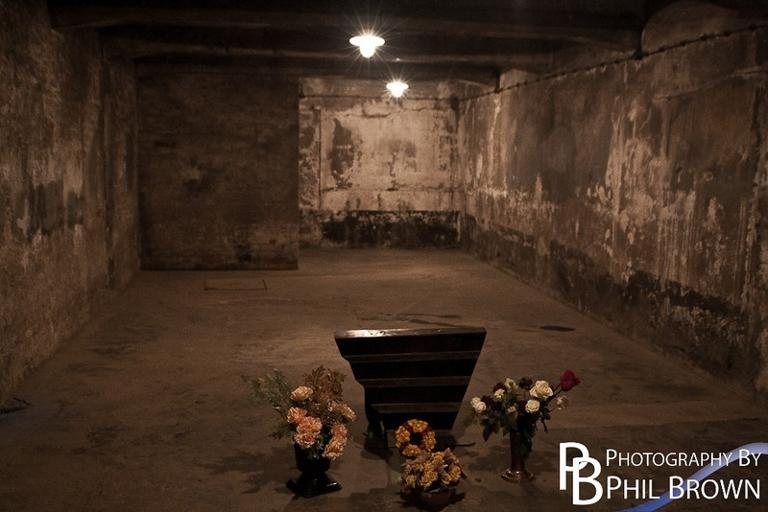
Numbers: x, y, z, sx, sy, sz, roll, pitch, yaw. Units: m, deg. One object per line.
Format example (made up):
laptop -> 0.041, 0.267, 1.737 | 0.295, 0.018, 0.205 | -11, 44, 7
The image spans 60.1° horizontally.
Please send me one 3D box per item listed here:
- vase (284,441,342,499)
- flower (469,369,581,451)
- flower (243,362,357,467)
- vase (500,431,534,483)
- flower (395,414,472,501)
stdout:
vase -> -0.497, 1.522, 4.823 | 0.352, 0.350, 0.365 | -6, 11, -37
flower -> 0.967, 1.218, 5.018 | 0.816, 0.612, 0.688 | 4, -20, -41
flower -> -0.607, 1.184, 4.922 | 0.747, 0.536, 0.642 | 15, 30, 16
vase -> 1.012, 1.481, 4.920 | 0.282, 0.307, 0.288 | -3, -14, 31
flower -> 0.296, 1.439, 4.714 | 0.410, 0.223, 0.569 | 0, 24, -7
